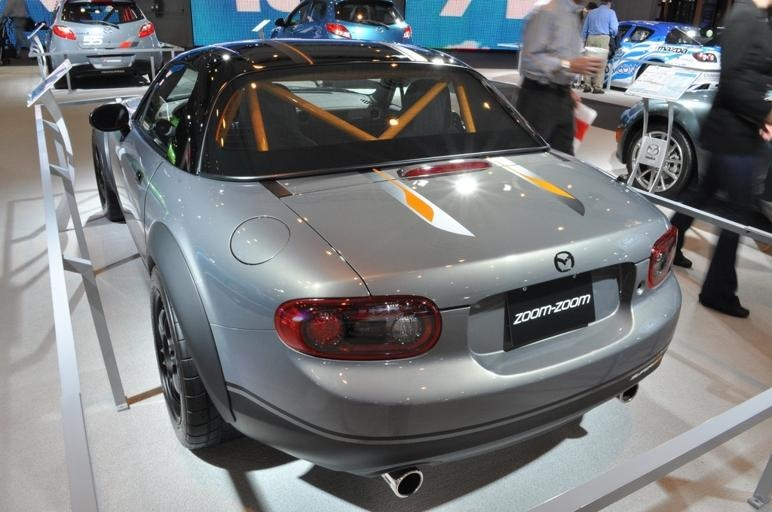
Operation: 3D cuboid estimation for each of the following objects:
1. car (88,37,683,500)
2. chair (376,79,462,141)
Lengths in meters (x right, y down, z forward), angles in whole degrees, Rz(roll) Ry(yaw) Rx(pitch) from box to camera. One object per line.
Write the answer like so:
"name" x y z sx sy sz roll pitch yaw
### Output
"car" -0.588 -0.683 3.501 2.521 1.553 4.823 -13 32 -29
"chair" 0.191 -0.807 2.629 0.333 0.441 0.458 -3 28 -9
